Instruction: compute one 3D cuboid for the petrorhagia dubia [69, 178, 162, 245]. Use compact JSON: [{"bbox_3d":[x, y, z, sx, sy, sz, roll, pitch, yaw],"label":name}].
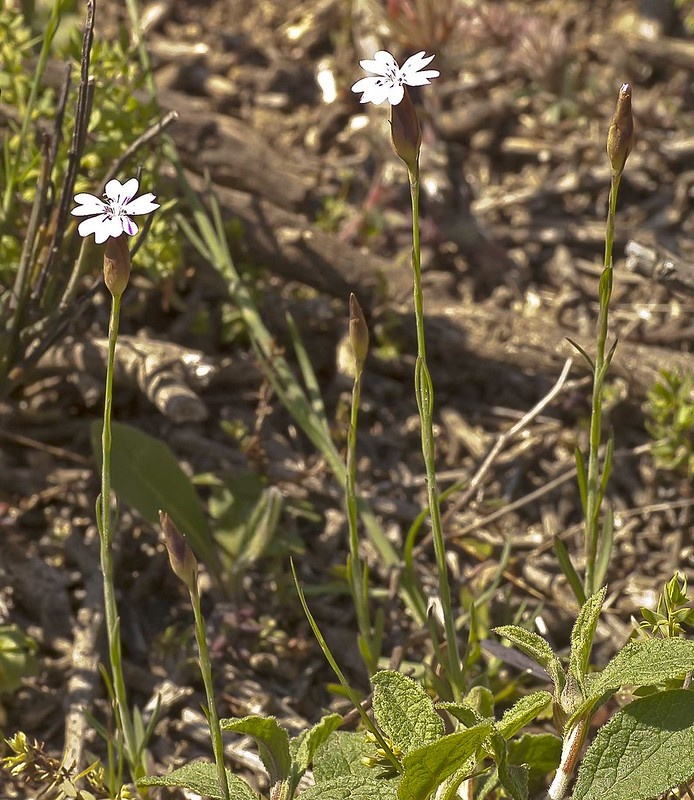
[{"bbox_3d":[-0.331,-0.278,1.265,0.097,0.095,0.027,-12,61,5],"label":"petrorhagia dubia"}]
